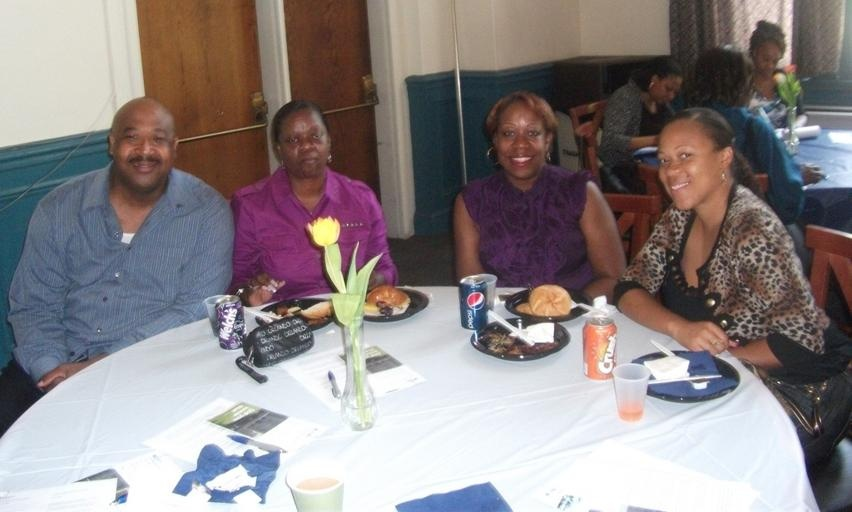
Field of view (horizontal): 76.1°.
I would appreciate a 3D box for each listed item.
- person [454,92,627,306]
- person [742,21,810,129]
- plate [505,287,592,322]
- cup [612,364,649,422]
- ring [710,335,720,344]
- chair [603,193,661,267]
[{"bbox_3d":[0.558,-0.249,2.952,0.960,1.201,0.783,-5,24,16],"label":"person"},{"bbox_3d":[2.927,-1.467,4.636,0.399,0.960,0.351,-2,37,28],"label":"person"},{"bbox_3d":[0.502,0.216,2.368,0.211,0.026,0.198,-6,17,-11],"label":"plate"},{"bbox_3d":[0.661,0.475,1.795,0.124,0.124,0.117,2,-7,0],"label":"cup"},{"bbox_3d":[1.097,0.318,2.063,0.029,0.023,0.027,-5,10,1],"label":"ring"},{"bbox_3d":[1.330,-0.196,3.425,0.252,0.391,0.233,-4,47,29],"label":"chair"}]
